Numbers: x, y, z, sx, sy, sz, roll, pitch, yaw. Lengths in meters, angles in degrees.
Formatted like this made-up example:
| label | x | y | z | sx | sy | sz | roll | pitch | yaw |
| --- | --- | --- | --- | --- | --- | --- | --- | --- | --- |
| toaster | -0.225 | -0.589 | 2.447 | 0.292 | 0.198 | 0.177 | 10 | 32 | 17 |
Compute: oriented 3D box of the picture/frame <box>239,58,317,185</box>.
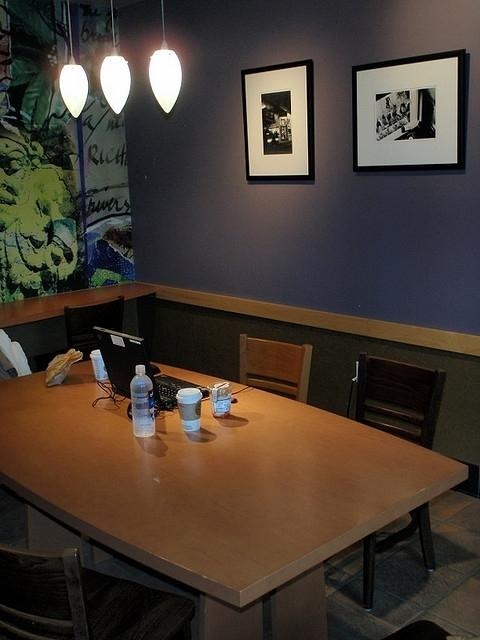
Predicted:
| label | x | y | z | sx | sy | sz | roll | pitch | yaw |
| --- | --- | --- | --- | --- | --- | --- | --- | --- | --- |
| picture/frame | 0.279 | -1.328 | 3.216 | 0.728 | 1.000 | 0.038 | 12 | 21 | 42 |

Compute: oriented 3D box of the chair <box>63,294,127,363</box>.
| label | x | y | z | sx | sy | sz | roll | pitch | yaw |
| --- | --- | --- | --- | --- | --- | --- | --- | --- | --- |
| chair | -0.913 | 0.053 | 3.005 | 0.265 | 0.517 | 0.296 | -11 | 29 | -31 |

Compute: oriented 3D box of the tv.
| label | x | y | z | sx | sy | sz | roll | pitch | yaw |
| --- | --- | --- | --- | --- | --- | --- | --- | --- | --- |
| tv | -0.371 | 0.159 | 1.992 | 0.339 | 0.335 | 0.396 | -12 | 15 | -41 |

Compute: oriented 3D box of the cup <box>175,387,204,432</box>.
| label | x | y | z | sx | sy | sz | roll | pitch | yaw |
| --- | --- | --- | --- | --- | --- | --- | --- | --- | --- |
| cup | -0.169 | 0.307 | 1.759 | 0.115 | 0.172 | 0.125 | -4 | 16 | 1 |

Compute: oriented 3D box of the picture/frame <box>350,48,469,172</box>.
| label | x | y | z | sx | sy | sz | roll | pitch | yaw |
| --- | --- | --- | --- | --- | --- | --- | --- | --- | --- |
| picture/frame | 0.928 | -1.112 | 2.562 | 0.030 | 0.641 | 0.683 | -11 | 11 | -42 |
